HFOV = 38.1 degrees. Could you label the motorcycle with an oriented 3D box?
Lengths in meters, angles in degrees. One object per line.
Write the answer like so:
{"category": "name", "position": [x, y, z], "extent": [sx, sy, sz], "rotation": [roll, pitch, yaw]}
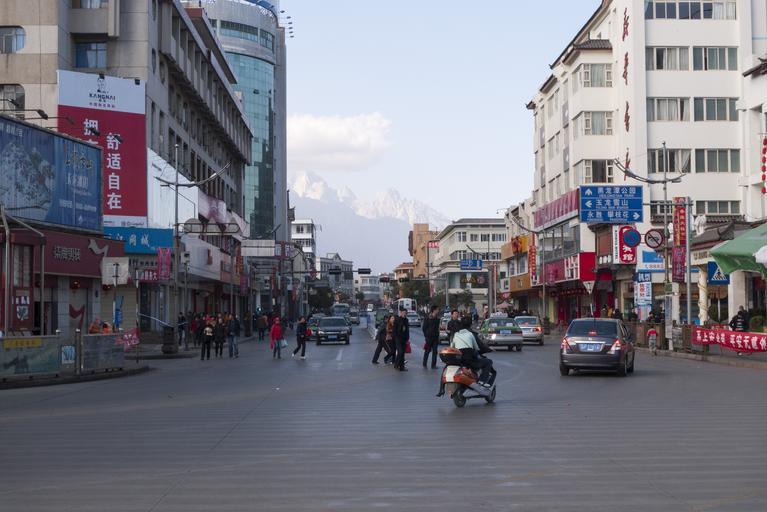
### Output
{"category": "motorcycle", "position": [2.922, 4.171, 38.109], "extent": [1.228, 1.713, 2.379], "rotation": [-3, -4, 33]}

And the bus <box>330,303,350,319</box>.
{"category": "bus", "position": [-4.185, 5.628, 111.519], "extent": [1.708, 1.876, 3.199], "rotation": [1, 8, 2]}

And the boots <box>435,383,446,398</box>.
{"category": "boots", "position": [1.986, 4.690, 38.090], "extent": [0.167, 0.545, 0.364], "rotation": [10, 7, 11]}

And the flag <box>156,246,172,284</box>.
{"category": "flag", "position": [-13.496, 0.594, 69.181], "extent": [0.888, 2.473, 0.221], "rotation": [2, 29, -12]}

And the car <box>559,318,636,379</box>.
{"category": "car", "position": [8.626, 3.651, 44.412], "extent": [1.523, 2.085, 4.242], "rotation": [-2, -3, 29]}

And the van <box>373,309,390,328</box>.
{"category": "van", "position": [-0.136, 5.429, 94.947], "extent": [1.110, 1.274, 2.465], "rotation": [-1, -8, -4]}
